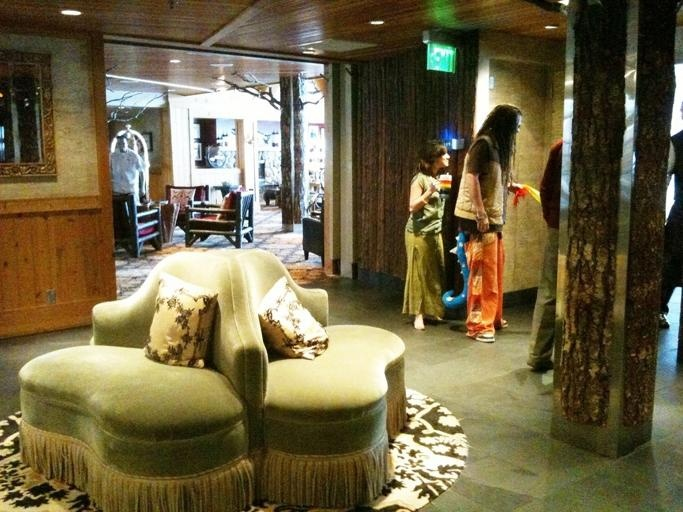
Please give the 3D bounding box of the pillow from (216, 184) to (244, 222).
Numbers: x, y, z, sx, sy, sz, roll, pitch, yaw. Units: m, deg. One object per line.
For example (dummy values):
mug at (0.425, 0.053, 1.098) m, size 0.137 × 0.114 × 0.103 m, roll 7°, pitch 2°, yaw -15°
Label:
pillow at (-2.054, -0.873, 9.828) m, size 0.239 × 0.580 × 0.591 m, roll 16°, pitch -32°, yaw -5°

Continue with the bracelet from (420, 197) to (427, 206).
bracelet at (0.783, -0.516, 5.284) m, size 0.056 × 0.081 × 0.105 m, roll 2°, pitch 12°, yaw 8°

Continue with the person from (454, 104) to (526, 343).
person at (1.291, -0.278, 5.084) m, size 0.508 × 2.112 × 0.438 m, roll 1°, pitch 13°, yaw 5°

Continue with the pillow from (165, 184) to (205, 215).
pillow at (-3.235, -1.268, 11.757) m, size 0.813 × 0.745 × 0.806 m, roll -1°, pitch 2°, yaw -5°

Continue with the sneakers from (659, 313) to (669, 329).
sneakers at (3.146, 0.621, 5.465) m, size 0.089 × 0.122 × 0.203 m, roll 7°, pitch 13°, yaw 30°

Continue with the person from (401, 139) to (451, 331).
person at (0.809, -0.210, 5.504) m, size 0.385 × 1.793 × 0.531 m, roll 9°, pitch 15°, yaw 35°

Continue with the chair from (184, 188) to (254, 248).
chair at (-2.230, -0.633, 10.205) m, size 1.113 × 1.032 × 1.258 m, roll 2°, pitch 4°, yaw 10°

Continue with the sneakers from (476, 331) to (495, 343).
sneakers at (1.310, 0.738, 5.123) m, size 0.196 × 0.071 × 0.069 m, roll -4°, pitch 5°, yaw -5°

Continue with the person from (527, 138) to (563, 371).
person at (1.558, 0.043, 4.233) m, size 0.192 × 1.791 × 0.631 m, roll 4°, pitch 13°, yaw 19°

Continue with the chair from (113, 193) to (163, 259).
chair at (-3.525, -0.523, 9.396) m, size 0.769 × 1.059 × 1.010 m, roll 2°, pitch 6°, yaw 28°

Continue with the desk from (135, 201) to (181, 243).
desk at (-3.241, -0.632, 9.993) m, size 0.659 × 0.473 × 0.664 m, roll -1°, pitch -3°, yaw -7°

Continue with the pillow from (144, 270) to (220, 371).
pillow at (-0.872, 0.371, 3.143) m, size 0.464 × 0.498 × 0.256 m, roll 12°, pitch -2°, yaw 22°
